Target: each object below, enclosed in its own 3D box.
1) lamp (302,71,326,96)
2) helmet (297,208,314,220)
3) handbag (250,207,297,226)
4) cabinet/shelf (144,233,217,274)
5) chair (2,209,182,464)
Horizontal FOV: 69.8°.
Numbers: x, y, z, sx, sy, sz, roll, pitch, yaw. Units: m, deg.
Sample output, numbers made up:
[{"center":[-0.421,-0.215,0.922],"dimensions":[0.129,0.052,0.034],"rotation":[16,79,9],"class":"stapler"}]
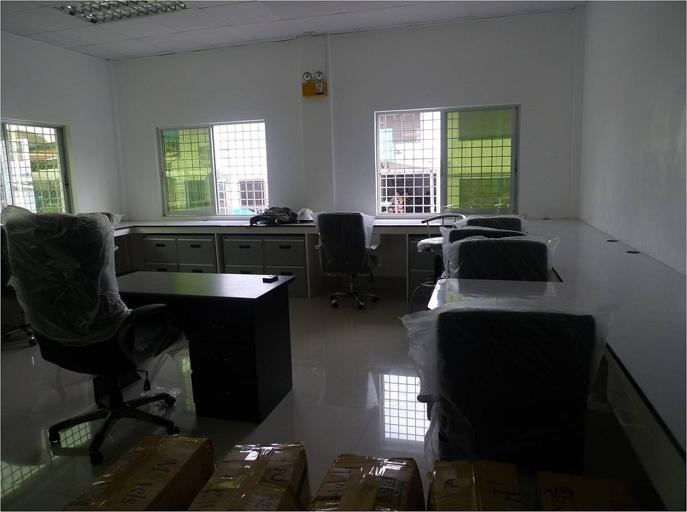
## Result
[{"center":[-0.354,-2.133,6.076],"dimensions":[0.286,0.271,0.100],"rotation":[4,14,18],"class":"lamp"},{"center":[-0.477,-0.512,6.122],"dimensions":[0.248,0.163,0.181],"rotation":[-1,11,-7],"class":"helmet"},{"center":[-0.872,-0.504,6.200],"dimensions":[0.592,0.176,0.468],"rotation":[-3,14,-7],"class":"handbag"},{"center":[-2.126,-0.031,6.454],"dimensions":[0.978,0.650,0.507],"rotation":[4,12,14],"class":"cabinet/shelf"},{"center":[-1.422,0.423,2.874],"dimensions":[0.826,1.459,0.468],"rotation":[-7,15,-20],"class":"chair"}]
